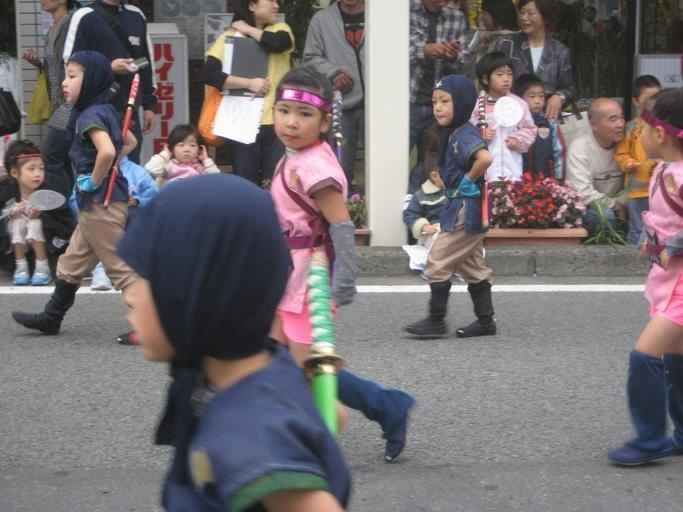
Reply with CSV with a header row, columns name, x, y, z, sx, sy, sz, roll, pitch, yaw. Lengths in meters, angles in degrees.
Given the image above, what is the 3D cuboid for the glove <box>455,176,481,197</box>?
name,x,y,z,sx,sy,sz,roll,pitch,yaw
glove,0.840,-0.468,6.487,0.192,0.140,0.112,-4,20,-2

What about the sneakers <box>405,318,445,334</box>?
name,x,y,z,sx,sy,sz,roll,pitch,yaw
sneakers,0.585,0.479,6.635,0.315,0.102,0.102,2,1,-9

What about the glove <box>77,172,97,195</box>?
name,x,y,z,sx,sy,sz,roll,pitch,yaw
glove,-1.639,-0.473,6.230,0.101,0.118,0.129,-9,17,-30

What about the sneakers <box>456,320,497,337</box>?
name,x,y,z,sx,sy,sz,roll,pitch,yaw
sneakers,0.920,0.499,6.683,0.306,0.091,0.102,0,2,-4
